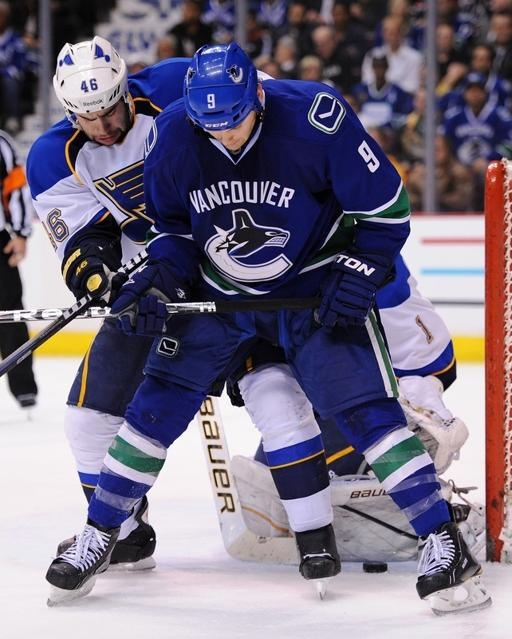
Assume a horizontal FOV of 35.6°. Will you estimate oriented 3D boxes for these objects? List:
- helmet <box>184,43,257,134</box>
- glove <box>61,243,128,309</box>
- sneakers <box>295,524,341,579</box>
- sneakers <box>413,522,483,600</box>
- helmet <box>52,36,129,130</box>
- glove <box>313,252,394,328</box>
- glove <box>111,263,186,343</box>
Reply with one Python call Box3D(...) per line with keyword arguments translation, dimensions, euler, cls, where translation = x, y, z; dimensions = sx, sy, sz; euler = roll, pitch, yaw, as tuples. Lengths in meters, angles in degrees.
Box3D(translation=(-0.072, -0.491, 1.703), dimensions=(0.156, 0.168, 0.162), euler=(-2, 69, 12), cls="helmet")
Box3D(translation=(-0.448, -0.124, 2.136), dimensions=(0.148, 0.089, 0.187), euler=(-34, 35, 2), cls="glove")
Box3D(translation=(0.135, 0.525, 1.868), dimensions=(0.107, 0.042, 0.156), euler=(-8, 28, 4), cls="sneakers")
Box3D(translation=(0.384, 0.506, 1.661), dimensions=(0.131, 0.108, 0.116), euler=(-16, 28, -23), cls="sneakers")
Box3D(translation=(-0.476, -0.695, 2.322), dimensions=(0.239, 0.226, 0.237), euler=(-12, 46, 0), cls="helmet")
Box3D(translation=(0.238, -0.053, 1.828), dimensions=(0.145, 0.076, 0.173), euler=(28, 79, 31), cls="glove")
Box3D(translation=(-0.268, -0.036, 1.919), dimensions=(0.187, 0.157, 0.091), euler=(-52, 13, -22), cls="glove")
